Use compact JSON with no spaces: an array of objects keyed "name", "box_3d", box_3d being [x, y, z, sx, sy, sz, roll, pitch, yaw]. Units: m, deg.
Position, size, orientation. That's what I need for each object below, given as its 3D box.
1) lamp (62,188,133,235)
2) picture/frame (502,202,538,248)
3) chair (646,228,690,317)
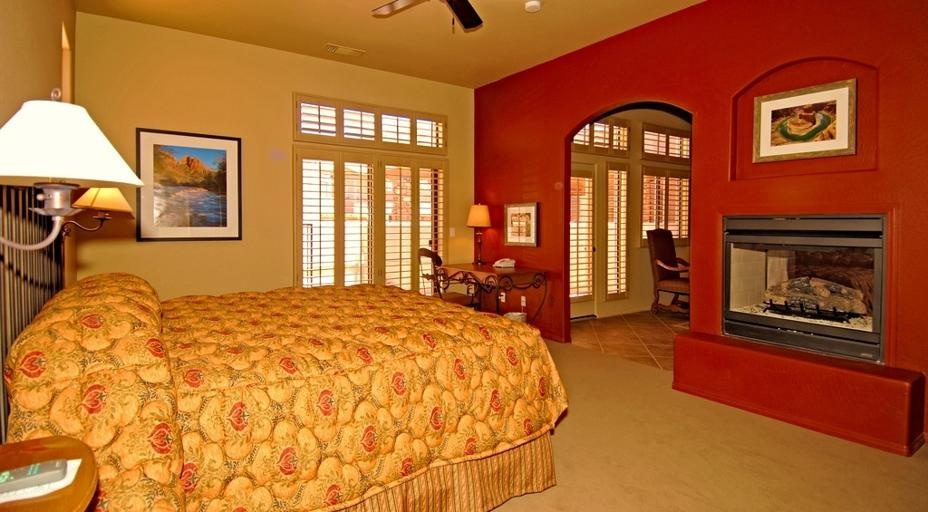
[{"name":"lamp","box_3d":[-3.421,-0.419,5.433,0.576,0.563,0.510,-2,12,-45]},{"name":"picture/frame","box_3d":[0.762,-0.432,7.885,0.053,0.632,0.665,3,-6,-38]},{"name":"chair","box_3d":[2.982,0.208,8.647,0.620,1.219,1.076,3,3,17]}]
